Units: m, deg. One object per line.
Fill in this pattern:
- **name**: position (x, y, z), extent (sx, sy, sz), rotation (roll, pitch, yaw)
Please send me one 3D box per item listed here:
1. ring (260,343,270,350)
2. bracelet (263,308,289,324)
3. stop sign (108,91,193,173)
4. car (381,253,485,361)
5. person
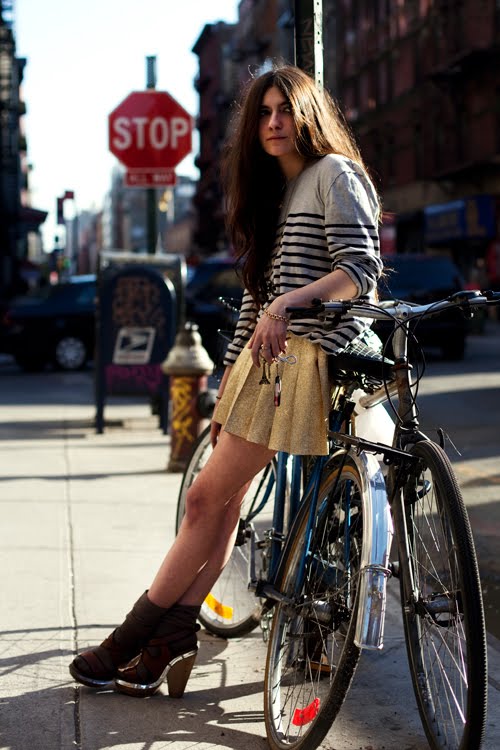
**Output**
- **ring**: position (0.031, -0.066, 2.246), extent (0.013, 0.017, 0.005), rotation (-1, 14, 15)
- **bracelet**: position (0.058, -0.137, 2.214), extent (0.067, 0.030, 0.036), rotation (6, 6, 17)
- **stop sign**: position (-0.601, -1.441, 5.643), extent (0.470, 0.530, 0.370), rotation (-6, 9, -29)
- **car**: position (2.804, -0.930, 14.033), extent (1.719, 1.557, 2.977), rotation (-1, 9, 0)
- **person**: position (-0.117, 0.065, 2.594), extent (0.914, 1.681, 0.576), rotation (-1, 3, -23)
